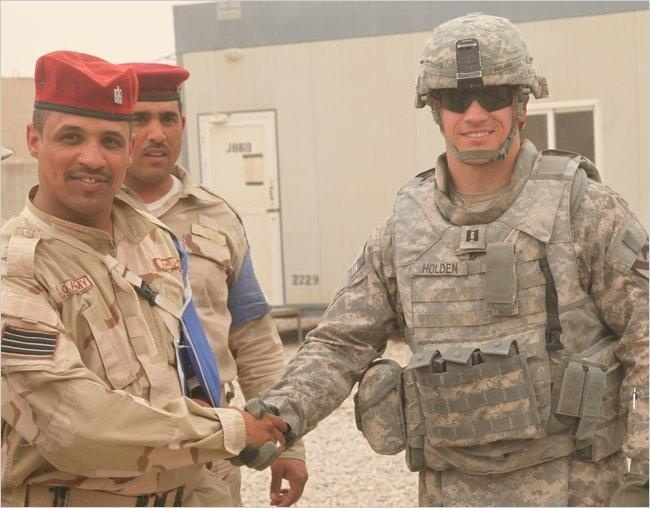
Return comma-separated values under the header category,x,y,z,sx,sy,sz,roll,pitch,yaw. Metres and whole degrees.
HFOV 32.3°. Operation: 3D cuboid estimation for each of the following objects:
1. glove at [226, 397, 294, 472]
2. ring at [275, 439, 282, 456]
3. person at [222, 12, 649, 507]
category,x,y,z,sx,sy,sz,roll,pitch,yaw
glove,-0.271,0.780,4.854,0.128,0.295,0.292,16,9,16
ring,-0.196,0.847,4.935,0.028,0.035,0.087,-8,-35,0
person,0.653,0.023,4.988,1.462,1.707,0.580,-4,2,25
